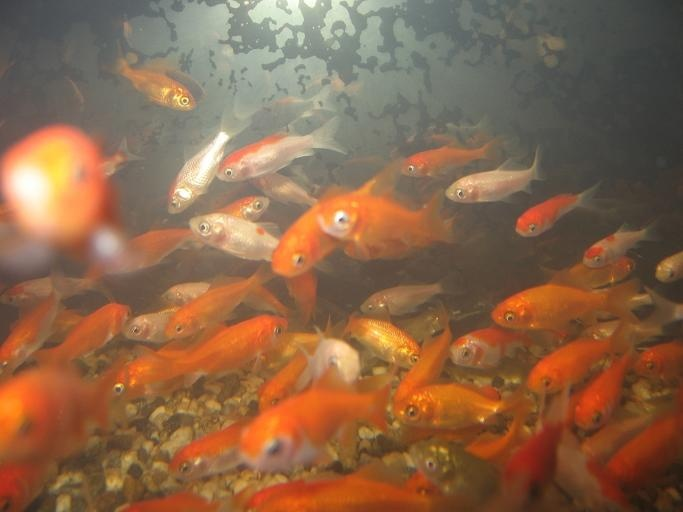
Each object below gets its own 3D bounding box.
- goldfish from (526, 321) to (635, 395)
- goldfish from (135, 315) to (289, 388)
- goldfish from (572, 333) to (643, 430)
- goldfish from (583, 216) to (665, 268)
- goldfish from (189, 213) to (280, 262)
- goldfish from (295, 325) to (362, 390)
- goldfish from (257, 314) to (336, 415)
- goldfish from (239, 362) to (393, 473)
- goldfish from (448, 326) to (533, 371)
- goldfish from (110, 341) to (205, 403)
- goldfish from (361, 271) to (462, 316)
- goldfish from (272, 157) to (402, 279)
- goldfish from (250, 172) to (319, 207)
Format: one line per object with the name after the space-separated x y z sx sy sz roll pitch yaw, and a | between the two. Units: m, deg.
1.139 0.490 3.072 0.410 0.175 0.088 -28 30 -10 | goldfish
-0.596 0.447 3.048 0.390 0.175 0.148 -21 55 -4 | goldfish
1.228 0.530 3.016 0.570 0.138 0.243 -44 -9 -35 | goldfish
1.455 -0.057 3.364 0.420 0.175 0.158 -21 14 -3 | goldfish
-0.530 -0.094 3.254 0.450 0.285 0.183 -4 16 22 | goldfish
-0.040 0.447 2.817 0.144 0.229 0.368 -24 5 -29 | goldfish
-0.207 0.496 2.901 0.414 0.096 0.167 -52 15 -21 | goldfish
-0.092 0.698 2.750 0.540 0.317 0.166 -21 41 -20 | goldfish
0.720 0.444 3.309 0.466 0.257 0.156 -8 8 -21 | goldfish
-0.829 0.540 3.046 0.410 0.213 0.186 -24 17 7 | goldfish
0.387 0.201 3.389 0.354 0.144 0.089 -17 19 3 | goldfish
-0.034 -0.163 3.166 0.598 0.153 0.280 -42 -20 -16 | goldfish
-0.317 -0.347 3.431 0.283 0.148 0.081 25 9 -8 | goldfish
